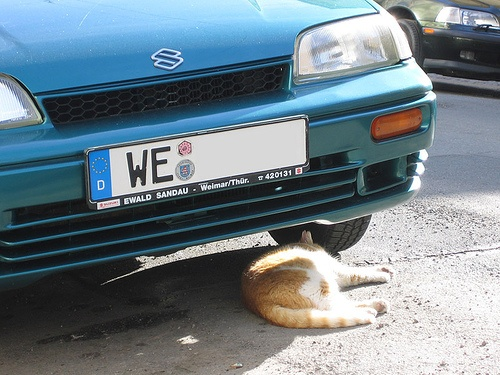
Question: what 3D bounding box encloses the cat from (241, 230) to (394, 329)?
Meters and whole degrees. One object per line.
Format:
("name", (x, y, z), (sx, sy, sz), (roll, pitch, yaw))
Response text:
("cat", (0.308, 0.413, 2.293), (0.575, 0.142, 0.355), (-6, 14, -11))
